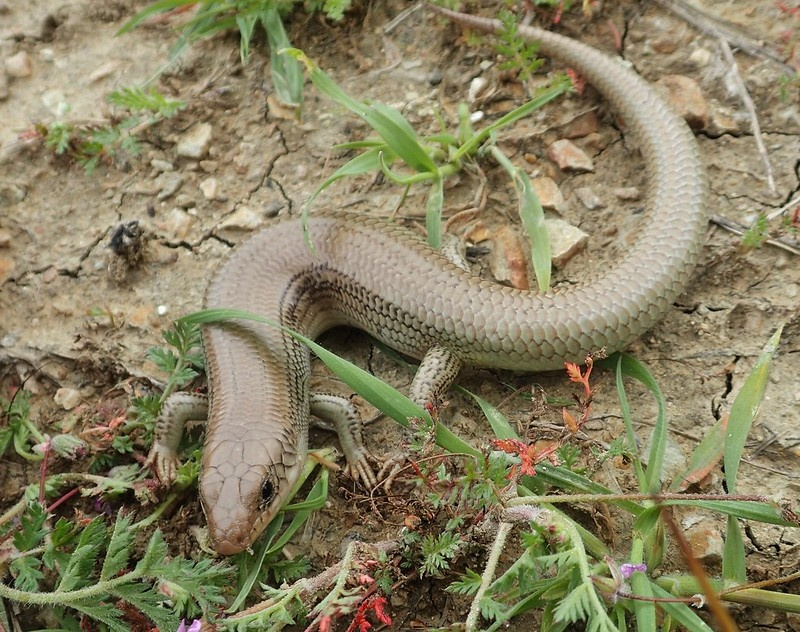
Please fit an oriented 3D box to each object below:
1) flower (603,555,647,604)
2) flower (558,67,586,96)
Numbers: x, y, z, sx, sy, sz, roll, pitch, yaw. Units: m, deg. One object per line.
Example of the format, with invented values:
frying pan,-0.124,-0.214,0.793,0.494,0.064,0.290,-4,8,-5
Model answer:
flower,0.971,1.134,4.004,0.191,0.324,0.183,5,75,4
flower,1.015,-1.357,5.401,0.044,0.191,0.139,-30,69,26
